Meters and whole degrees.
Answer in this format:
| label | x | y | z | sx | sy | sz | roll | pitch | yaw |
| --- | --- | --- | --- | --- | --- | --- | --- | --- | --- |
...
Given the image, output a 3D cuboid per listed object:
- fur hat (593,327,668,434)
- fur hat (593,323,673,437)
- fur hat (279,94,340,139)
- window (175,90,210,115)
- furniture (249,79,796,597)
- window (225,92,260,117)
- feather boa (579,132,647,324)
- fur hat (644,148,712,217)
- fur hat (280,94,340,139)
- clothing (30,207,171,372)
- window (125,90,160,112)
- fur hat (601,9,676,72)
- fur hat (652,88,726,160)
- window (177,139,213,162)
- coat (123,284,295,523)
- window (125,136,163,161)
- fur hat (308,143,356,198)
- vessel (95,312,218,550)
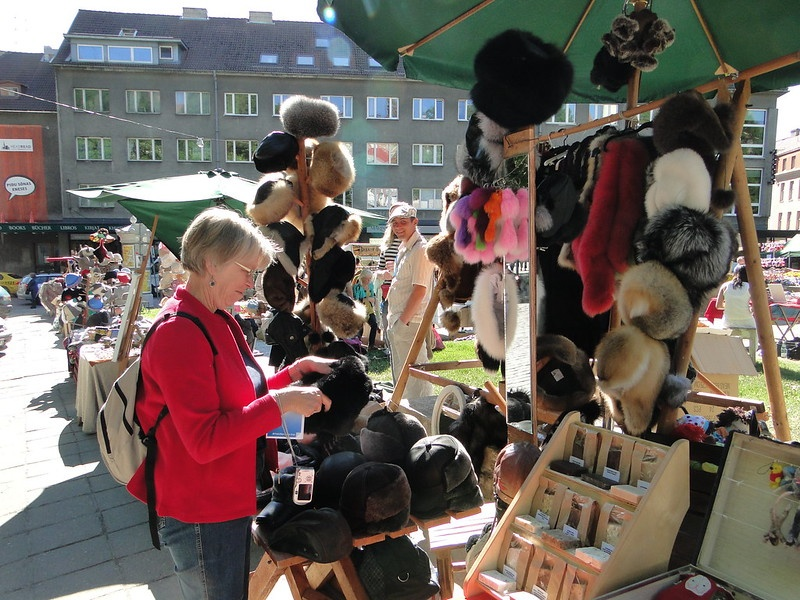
| label | x | y | z | sx | sy | sz | roll | pitch | yaw |
| --- | --- | --- | --- | --- | --- | --- | --- | --- | --- |
| fur hat | 1.127 | 0.388 | 3.146 | 0.355 | 0.498 | 0.186 | 16 | 16 | 41 |
| fur hat | 1.108 | 0.342 | 3.112 | 0.363 | 0.511 | 0.189 | 13 | 13 | 38 |
| fur hat | -0.508 | -1.052 | 3.835 | 0.317 | 0.218 | 0.393 | 8 | 10 | 34 |
| window | -7.882 | -7.522 | 24.759 | 0.871 | 0.641 | 0.075 | 1 | 15 | -5 |
| furniture | 0.950 | 0.050 | 4.636 | 2.030 | 3.379 | 2.289 | 12 | 2 | 44 |
| window | -6.077 | -7.514 | 24.939 | 0.891 | 0.665 | 0.076 | 0 | 0 | -7 |
| feather boa | 1.031 | -0.457 | 3.196 | 0.199 | 0.886 | 0.287 | 15 | 8 | 42 |
| fur hat | 1.255 | -0.521 | 2.936 | 0.227 | 0.322 | 0.142 | 2 | 12 | 17 |
| fur hat | -0.515 | -1.047 | 3.739 | 0.291 | 0.177 | 0.250 | 6 | 27 | -18 |
| clothing | -5.095 | -0.355 | 10.970 | 1.323 | 4.308 | 2.842 | 4 | 1 | -28 |
| window | -9.725 | -7.510 | 24.578 | 0.776 | 0.598 | 0.057 | 0 | 2 | -12 |
| fur hat | 1.207 | -1.299 | 3.359 | 0.355 | 0.129 | 0.294 | -36 | 69 | -20 |
| fur hat | 1.314 | -0.792 | 2.944 | 0.298 | 0.298 | 0.157 | -3 | 9 | -9 |
| window | -7.774 | -5.687 | 24.729 | 0.968 | 0.741 | 0.076 | 0 | 2 | -13 |
| coat | -0.774 | 0.493 | 3.097 | 0.849 | 0.989 | 0.820 | -1 | 2 | 1 |
| window | -9.689 | -5.730 | 24.557 | 0.862 | 0.669 | 0.058 | 0 | 3 | -13 |
| fur hat | -0.386 | -0.776 | 3.731 | 0.222 | 0.326 | 0.246 | -7 | 33 | -19 |
| vessel | -1.209 | 0.518 | 2.955 | 0.317 | 0.486 | 0.463 | 4 | 39 | -51 |
